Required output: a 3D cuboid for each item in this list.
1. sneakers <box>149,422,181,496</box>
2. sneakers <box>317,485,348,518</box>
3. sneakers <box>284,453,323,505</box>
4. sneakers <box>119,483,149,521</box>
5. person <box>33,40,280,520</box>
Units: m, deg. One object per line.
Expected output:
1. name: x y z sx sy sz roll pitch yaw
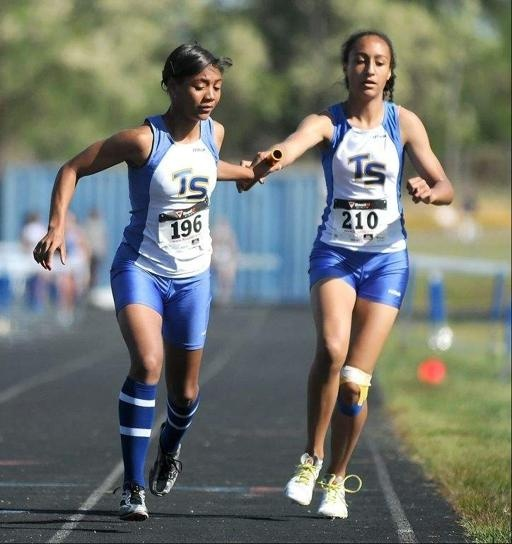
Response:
1. sneakers: -0.457 0.963 4.935 0.137 0.399 0.162 5 -4 -17
2. sneakers: 0.370 1.109 4.603 0.082 0.106 0.212 1 -5 4
3. sneakers: 0.247 0.964 4.625 0.110 0.150 0.314 29 33 -6
4. sneakers: -0.551 1.029 4.365 0.104 0.149 0.296 5 -5 -8
5. person: -0.514 0.061 4.469 0.824 2.218 0.640 1 9 -20
